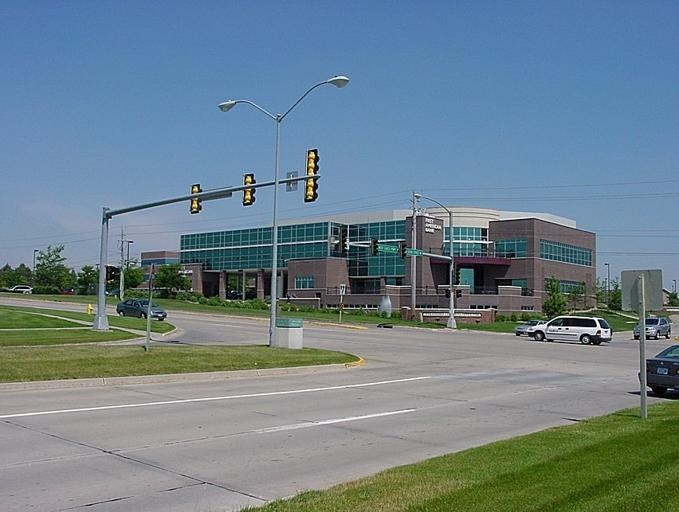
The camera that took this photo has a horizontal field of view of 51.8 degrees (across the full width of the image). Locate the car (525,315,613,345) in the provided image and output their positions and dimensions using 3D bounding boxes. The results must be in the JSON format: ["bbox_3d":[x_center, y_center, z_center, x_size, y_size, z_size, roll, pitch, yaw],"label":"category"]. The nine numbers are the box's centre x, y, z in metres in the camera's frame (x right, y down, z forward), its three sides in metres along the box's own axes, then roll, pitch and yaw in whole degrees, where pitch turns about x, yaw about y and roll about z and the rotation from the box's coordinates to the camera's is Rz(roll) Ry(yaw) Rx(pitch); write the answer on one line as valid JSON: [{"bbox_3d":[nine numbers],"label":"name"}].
[{"bbox_3d":[15.166,4.819,45.519,4.521,1.406,2.110,2,-3,37],"label":"car"}]

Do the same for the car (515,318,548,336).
[{"bbox_3d":[14.256,5.368,52.806,1.431,0.963,3.107,-7,-11,41],"label":"car"}]

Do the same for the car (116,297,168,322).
[{"bbox_3d":[-14.348,3.827,50.533,2.539,1.730,5.788,4,-7,-24],"label":"car"}]
